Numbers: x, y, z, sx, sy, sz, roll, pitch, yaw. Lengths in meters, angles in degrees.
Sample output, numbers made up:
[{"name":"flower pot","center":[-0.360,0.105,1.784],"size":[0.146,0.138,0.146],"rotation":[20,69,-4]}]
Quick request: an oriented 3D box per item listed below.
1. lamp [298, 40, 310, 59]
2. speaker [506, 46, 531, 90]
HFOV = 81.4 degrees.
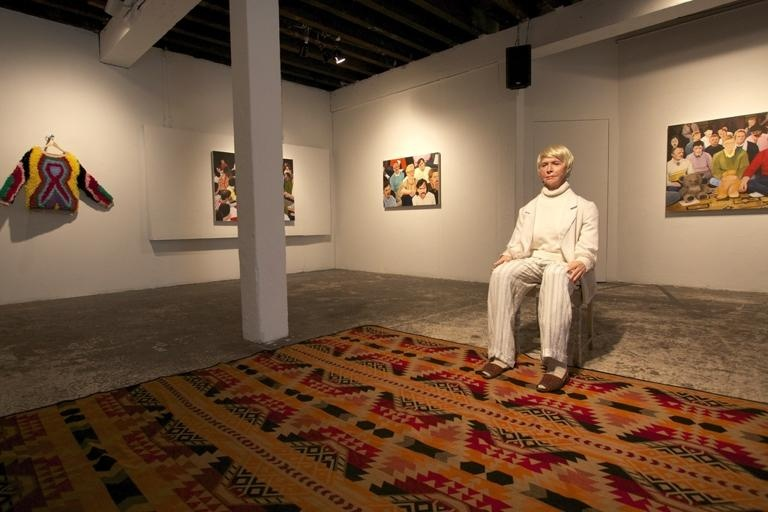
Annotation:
[{"name":"lamp","center":[-1.433,-3.760,8.092],"size":[0.196,0.278,0.516],"rotation":[-2,8,-10]},{"name":"speaker","center":[2.075,-2.852,6.845],"size":[0.350,0.574,0.332],"rotation":[3,9,31]}]
